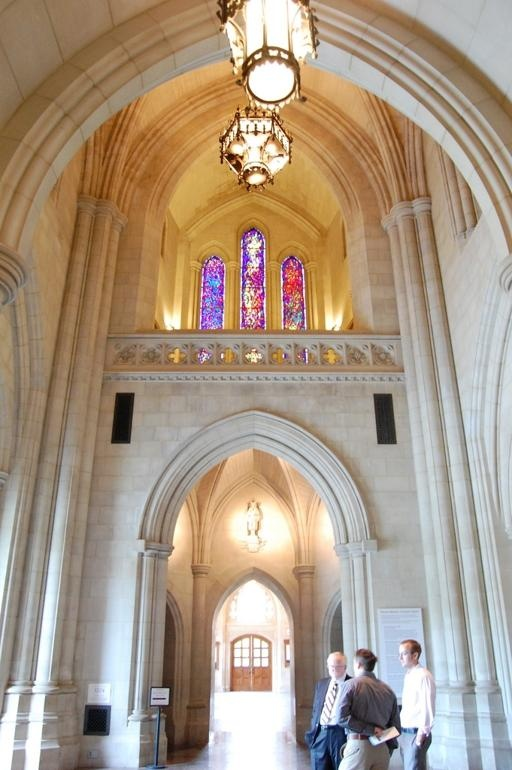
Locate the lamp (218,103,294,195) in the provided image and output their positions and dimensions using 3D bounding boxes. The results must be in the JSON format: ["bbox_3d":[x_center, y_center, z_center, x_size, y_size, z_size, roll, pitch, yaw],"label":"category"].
[{"bbox_3d":[0.015,-3.071,6.564,0.733,0.916,1.094,10,-26,-21],"label":"lamp"}]
